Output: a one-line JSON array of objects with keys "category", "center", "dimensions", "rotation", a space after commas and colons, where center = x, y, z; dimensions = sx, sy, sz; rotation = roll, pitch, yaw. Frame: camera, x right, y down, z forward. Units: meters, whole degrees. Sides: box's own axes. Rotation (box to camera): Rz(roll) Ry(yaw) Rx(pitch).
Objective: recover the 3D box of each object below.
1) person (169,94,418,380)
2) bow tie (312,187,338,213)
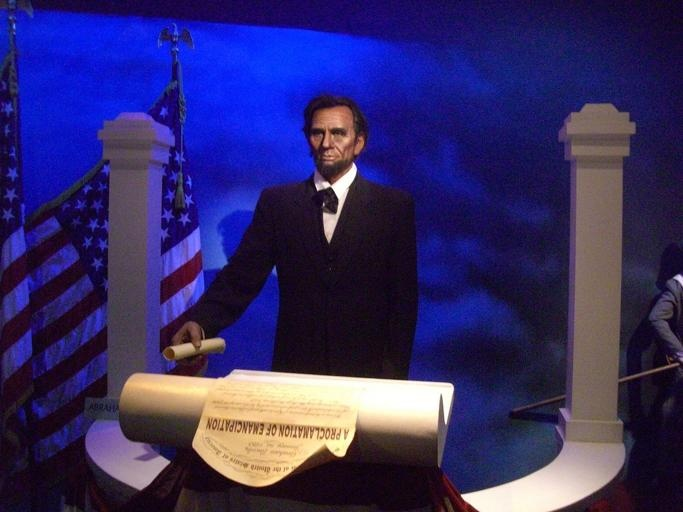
[{"category": "person", "center": [-0.129, -0.142, 4.342], "dimensions": [1.203, 1.724, 0.408], "rotation": [1, 3, -7]}, {"category": "bow tie", "center": [-0.089, -0.341, 4.319], "dimensions": [0.126, 0.164, 0.044], "rotation": [-2, -9, 16]}]
